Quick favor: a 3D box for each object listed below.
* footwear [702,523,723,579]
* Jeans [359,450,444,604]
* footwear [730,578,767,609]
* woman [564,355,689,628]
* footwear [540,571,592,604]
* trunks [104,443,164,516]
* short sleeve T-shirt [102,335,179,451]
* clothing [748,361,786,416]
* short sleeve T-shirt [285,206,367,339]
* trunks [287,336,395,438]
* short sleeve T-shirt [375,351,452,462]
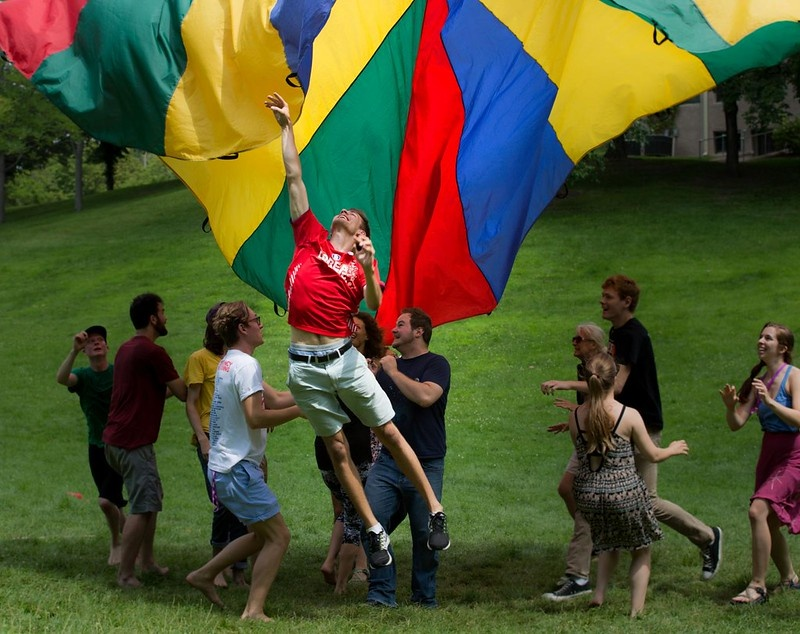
[{"bbox_3d":[2.987,2.255,10.287,0.201,0.511,0.170,25,-24,-19],"label":"footwear"},{"bbox_3d":[0.001,1.924,10.020,0.725,1.558,0.508,3,6,-2],"label":"Jeans"},{"bbox_3d":[3.101,2.484,9.531,0.334,0.140,0.149,0,-4,-7],"label":"footwear"},{"bbox_3d":[1.905,1.451,9.424,0.845,2.236,0.405,2,2,8],"label":"woman"},{"bbox_3d":[1.487,2.553,10.120,0.564,0.255,0.187,-7,2,-7],"label":"footwear"},{"bbox_3d":[-2.545,1.562,10.241,0.415,0.665,0.545,0,2,-39],"label":"trunks"},{"bbox_3d":[-2.541,0.741,10.510,0.660,1.060,0.696,8,-6,-37],"label":"short sleeve T-shirt"},{"bbox_3d":[3.401,0.676,9.922,0.319,0.570,0.435,6,-12,-14],"label":"clothing"},{"bbox_3d":[-0.590,-0.321,9.218,0.956,1.002,0.577,16,-5,-3],"label":"short sleeve T-shirt"},{"bbox_3d":[-0.514,0.605,9.263,0.626,0.826,0.360,-33,13,-2],"label":"trunks"},{"bbox_3d":[0.082,0.816,9.756,0.958,0.947,0.514,-9,-7,40],"label":"short sleeve T-shirt"}]
